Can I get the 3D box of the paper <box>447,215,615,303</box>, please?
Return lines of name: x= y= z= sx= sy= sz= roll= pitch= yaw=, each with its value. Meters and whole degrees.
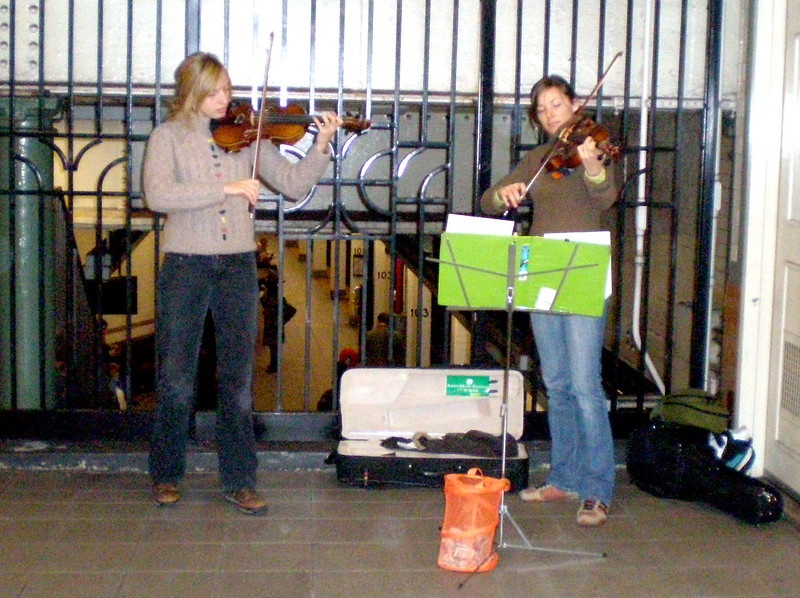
paper: x=0.516 y=-0.104 z=3.830 sx=0.582 sy=0.400 sz=0.190 roll=3 pitch=11 yaw=2

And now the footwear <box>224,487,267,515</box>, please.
footwear: x=-0.697 y=0.904 z=4.225 sx=0.184 sy=0.099 sz=0.094 roll=8 pitch=14 yaw=25

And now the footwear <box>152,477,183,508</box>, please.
footwear: x=-1.070 y=0.887 z=4.256 sx=0.076 sy=0.062 sz=0.137 roll=1 pitch=30 yaw=-13

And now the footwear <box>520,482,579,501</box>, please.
footwear: x=0.697 y=0.885 z=4.417 sx=0.270 sy=0.121 sz=0.098 roll=3 pitch=-5 yaw=-2

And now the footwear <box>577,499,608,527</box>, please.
footwear: x=0.859 y=0.950 z=4.182 sx=0.137 sy=0.102 sz=0.110 roll=1 pitch=13 yaw=6
